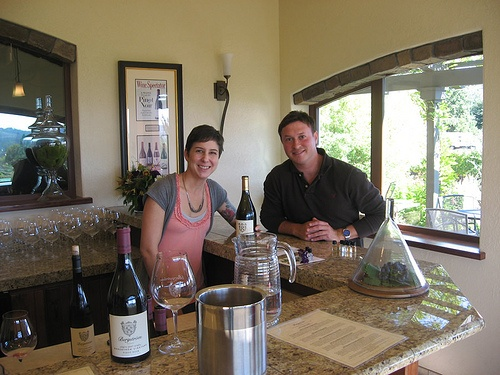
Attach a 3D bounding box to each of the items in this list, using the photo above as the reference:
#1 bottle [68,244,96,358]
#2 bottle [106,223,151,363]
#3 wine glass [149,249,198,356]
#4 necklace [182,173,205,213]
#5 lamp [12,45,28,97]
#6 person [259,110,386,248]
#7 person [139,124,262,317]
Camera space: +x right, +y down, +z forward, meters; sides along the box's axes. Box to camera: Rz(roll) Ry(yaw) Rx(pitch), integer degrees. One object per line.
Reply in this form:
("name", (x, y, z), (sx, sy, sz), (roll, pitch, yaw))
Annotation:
("bottle", (-0.591, 0.390, 1.308), (0.080, 0.422, 0.314), (-5, 8, -25))
("bottle", (-0.363, 0.302, 1.110), (0.115, 0.389, 0.136), (-4, 8, -20))
("wine glass", (-0.245, 0.365, 1.198), (0.131, 0.320, 0.220), (-6, 9, -31))
("necklace", (-0.340, 0.041, 2.258), (0.118, 0.237, 0.038), (-12, 3, -38))
("lamp", (-2.203, -1.084, 3.577), (0.105, 0.460, 0.031), (-5, 8, -27))
("person", (0.444, -0.057, 2.587), (0.858, 0.929, 0.564), (-1, 2, 35))
("person", (-0.310, 0.396, 2.310), (0.674, 1.459, 0.528), (0, 19, -17))
